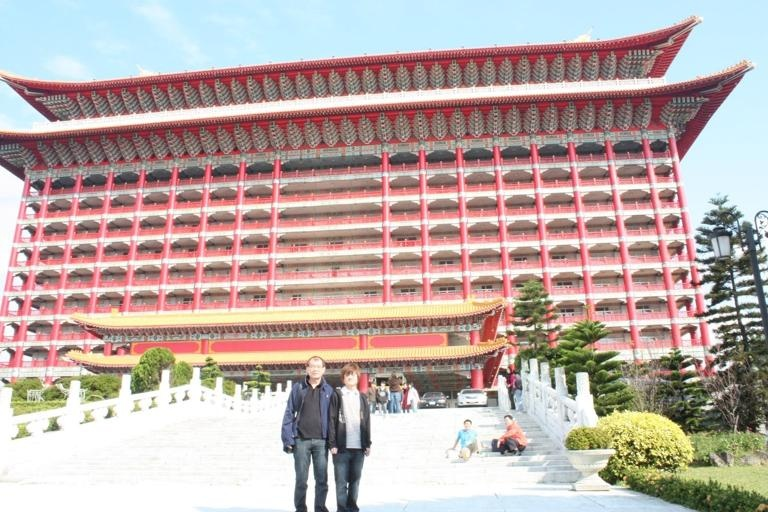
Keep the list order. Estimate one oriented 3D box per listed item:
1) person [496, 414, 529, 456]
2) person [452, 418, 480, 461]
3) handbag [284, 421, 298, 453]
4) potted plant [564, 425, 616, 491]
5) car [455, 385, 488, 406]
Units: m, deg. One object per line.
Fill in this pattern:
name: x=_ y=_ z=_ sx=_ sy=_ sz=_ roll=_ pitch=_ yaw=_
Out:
person: x=5.397 y=7.286 z=25.804 sx=1.057 sy=1.524 sz=1.428 roll=-16 pitch=-3 yaw=-37
person: x=3.228 y=7.448 z=25.429 sx=1.154 sy=1.413 sz=0.957 roll=0 pitch=2 yaw=36
handbag: x=-2.778 y=5.320 z=18.353 sx=0.634 sy=0.719 sz=0.235 roll=1 pitch=-9 yaw=-29
potted plant: x=7.379 y=7.277 z=22.660 sx=2.320 sy=2.254 sz=2.094 roll=-1 pitch=-20 yaw=3
car: x=5.603 y=9.104 z=40.192 sx=1.672 sy=1.155 sz=1.530 roll=-4 pitch=-16 yaw=12
